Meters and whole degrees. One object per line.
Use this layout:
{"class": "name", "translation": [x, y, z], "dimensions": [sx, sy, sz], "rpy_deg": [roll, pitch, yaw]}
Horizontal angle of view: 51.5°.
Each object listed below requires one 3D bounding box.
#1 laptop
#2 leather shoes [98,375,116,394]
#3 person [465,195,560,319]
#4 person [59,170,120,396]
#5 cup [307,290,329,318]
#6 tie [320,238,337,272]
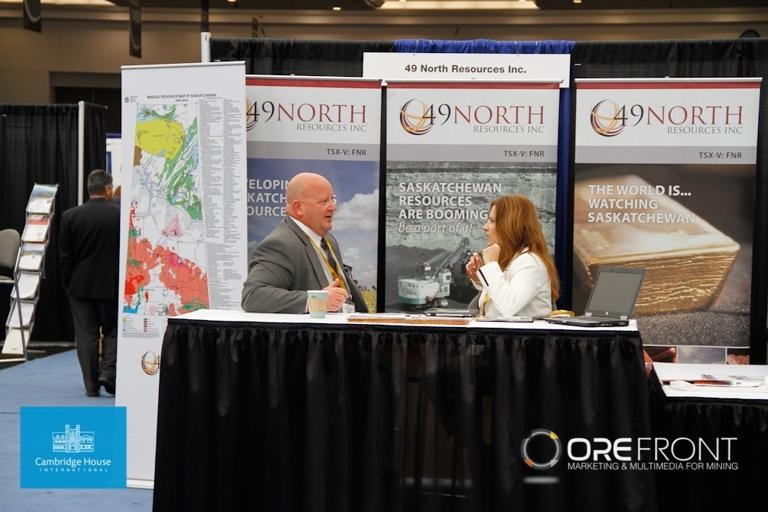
{"class": "laptop", "translation": [1.282, 0.217, 4.778], "dimensions": [0.422, 0.305, 0.413], "rpy_deg": [1, 0, -31]}
{"class": "leather shoes", "translation": [-2.637, 1.225, 7.576], "dimensions": [0.137, 0.201, 0.302], "rpy_deg": [0, 4, -16]}
{"class": "person", "translation": [0.923, 0.088, 5.458], "dimensions": [0.584, 0.953, 0.727], "rpy_deg": [-3, 17, -5]}
{"class": "person", "translation": [-2.808, 0.245, 7.596], "dimensions": [0.535, 2.122, 0.611], "rpy_deg": [0, 4, -22]}
{"class": "cup", "translation": [-0.396, 0.289, 4.788], "dimensions": [0.145, 0.145, 0.145], "rpy_deg": [1, 2, 0]}
{"class": "tie", "translation": [-0.382, -0.012, 5.528], "dimensions": [0.075, 0.279, 0.040], "rpy_deg": [-11, -19, -22]}
